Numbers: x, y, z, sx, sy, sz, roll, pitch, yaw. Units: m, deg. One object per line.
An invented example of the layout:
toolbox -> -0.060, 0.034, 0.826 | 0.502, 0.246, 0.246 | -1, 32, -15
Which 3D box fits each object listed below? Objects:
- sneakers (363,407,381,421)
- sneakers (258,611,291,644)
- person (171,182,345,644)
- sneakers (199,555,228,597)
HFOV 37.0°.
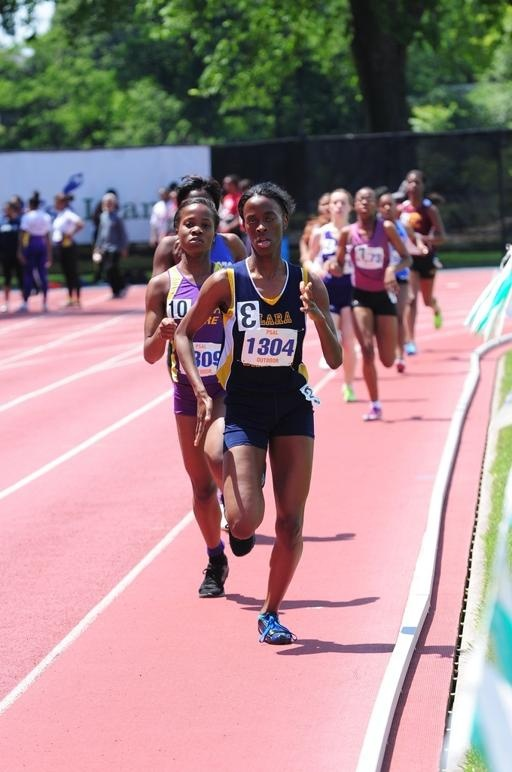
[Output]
sneakers -> 1.117, 0.281, 7.414 | 0.192, 0.103, 0.095 | 1, 1, -9
sneakers -> 0.065, 0.919, 2.923 | 0.089, 0.063, 0.147 | 1, -3, -22
person -> 0.042, 0.134, 2.766 | 0.606, 1.744, 0.398 | -5, 6, -6
sneakers -> -0.192, 0.886, 3.587 | 0.088, 0.095, 0.228 | 1, 18, 13
